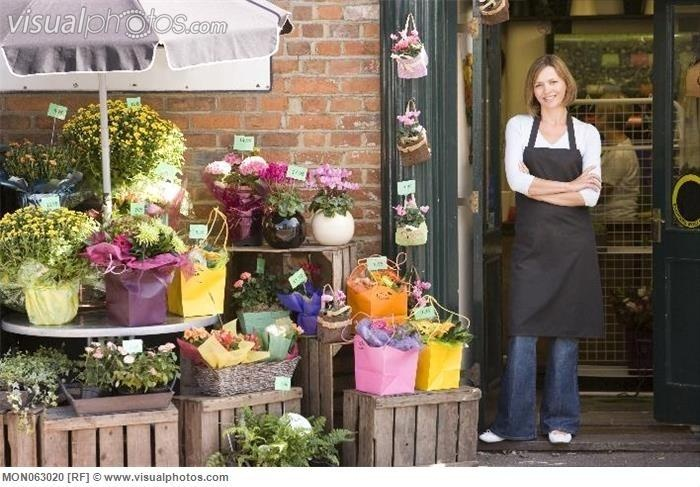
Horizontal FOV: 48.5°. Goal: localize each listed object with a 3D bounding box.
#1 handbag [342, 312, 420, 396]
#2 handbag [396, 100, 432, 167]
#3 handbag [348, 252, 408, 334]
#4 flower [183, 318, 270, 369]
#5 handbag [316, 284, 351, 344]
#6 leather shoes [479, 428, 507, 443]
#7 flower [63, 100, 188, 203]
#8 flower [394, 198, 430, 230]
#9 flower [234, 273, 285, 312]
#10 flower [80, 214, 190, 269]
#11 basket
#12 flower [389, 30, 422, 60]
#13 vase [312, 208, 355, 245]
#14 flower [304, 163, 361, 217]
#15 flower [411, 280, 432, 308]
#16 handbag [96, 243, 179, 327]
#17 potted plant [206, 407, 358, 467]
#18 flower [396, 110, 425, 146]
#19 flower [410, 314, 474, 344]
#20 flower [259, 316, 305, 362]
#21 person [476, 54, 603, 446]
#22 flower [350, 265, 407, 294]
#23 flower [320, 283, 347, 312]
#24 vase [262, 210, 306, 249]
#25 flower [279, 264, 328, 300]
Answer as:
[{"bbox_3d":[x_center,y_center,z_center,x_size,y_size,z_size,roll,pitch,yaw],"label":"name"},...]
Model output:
[{"bbox_3d":[0.211,0.661,4.527,0.372,0.439,0.383,3,2,-35],"label":"handbag"},{"bbox_3d":[0.407,-0.721,4.995,0.248,0.407,0.213,-14,6,-42],"label":"handbag"},{"bbox_3d":[0.239,0.309,4.821,0.334,0.385,0.301,-11,18,-31],"label":"handbag"},{"bbox_3d":[-0.695,0.585,4.475,0.359,0.194,0.371,15,17,39],"label":"flower"},{"bbox_3d":[-0.067,0.419,4.689,0.223,0.281,0.184,-9,15,-16],"label":"handbag"},{"bbox_3d":[0.898,1.214,4.911,0.136,0.051,0.071,6,-8,2],"label":"leather shoes"},{"bbox_3d":[-1.428,-0.622,4.917,0.752,0.532,0.443,1,13,-14],"label":"flower"},{"bbox_3d":[0.368,-0.209,5.000,0.220,0.203,0.195,13,-23,-43],"label":"flower"},{"bbox_3d":[-0.579,0.304,4.830,0.271,0.243,0.169,-4,-2,-5],"label":"flower"},{"bbox_3d":[-1.165,-0.045,4.237,0.362,0.154,0.363,2,4,24],"label":"flower"},{"bbox_3d":[-0.594,0.759,4.500,0.470,0.156,0.242,2,-9,-32],"label":"basket"},{"bbox_3d":[0.345,-1.264,4.933,0.237,0.218,0.206,-1,-1,-12],"label":"flower"},{"bbox_3d":[-0.104,-0.107,4.860,0.230,0.179,0.223,2,3,5],"label":"vase"},{"bbox_3d":[-0.101,-0.340,4.902,0.324,0.311,0.235,8,13,17],"label":"flower"},{"bbox_3d":[0.459,0.320,4.946,0.091,0.155,0.150,0,4,44],"label":"flower"},{"bbox_3d":[-1.183,0.215,4.362,0.503,0.421,0.421,1,5,-16],"label":"handbag"},{"bbox_3d":[-0.436,1.121,4.372,0.569,0.218,0.593,7,-10,-37],"label":"potted plant"},{"bbox_3d":[0.374,-0.743,4.934,0.207,0.199,0.222,1,4,-2],"label":"flower"},{"bbox_3d":[0.552,0.508,4.634,0.282,0.106,0.273,5,3,8],"label":"flower"},{"bbox_3d":[-0.402,0.549,4.586,0.213,0.235,0.225,23,0,14],"label":"flower"},{"bbox_3d":[1.272,0.054,4.887,0.751,2.404,0.591,7,12,11],"label":"person"},{"bbox_3d":[0.144,0.222,4.843,0.221,0.206,0.209,2,-2,-33],"label":"flower"},{"bbox_3d":[-0.112,0.333,4.748,0.149,0.149,0.152,-6,-20,19],"label":"flower"},{"bbox_3d":[-0.410,-0.078,4.880,0.265,0.215,0.267,3,4,34],"label":"vase"},{"bbox_3d":[-0.284,0.221,4.892,0.234,0.206,0.128,-31,9,-38],"label":"flower"}]
